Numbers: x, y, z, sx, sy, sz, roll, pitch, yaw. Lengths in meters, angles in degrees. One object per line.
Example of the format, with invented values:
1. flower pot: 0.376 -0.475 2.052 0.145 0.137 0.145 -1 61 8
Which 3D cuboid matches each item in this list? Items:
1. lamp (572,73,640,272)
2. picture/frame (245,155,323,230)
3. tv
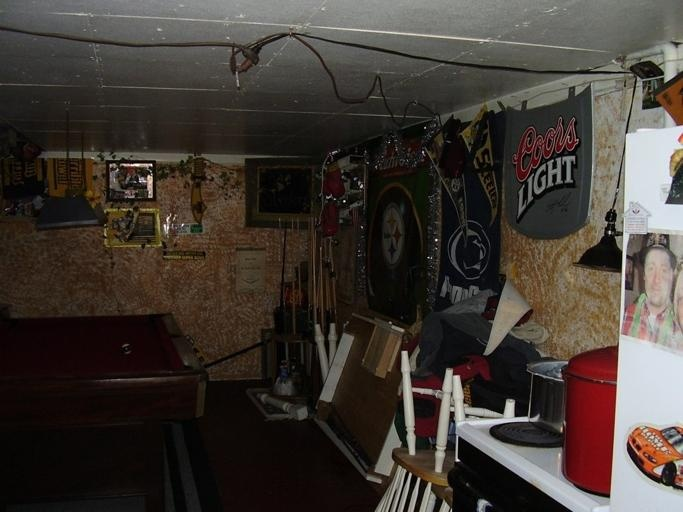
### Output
1. lamp: 1.400 -0.430 2.802 0.260 1.076 0.524 2 5 29
2. picture/frame: -0.774 -0.866 7.216 1.006 1.027 0.078 0 -16 -4
3. tv: -0.776 -0.869 7.214 1.007 1.029 0.078 0 -16 -5
